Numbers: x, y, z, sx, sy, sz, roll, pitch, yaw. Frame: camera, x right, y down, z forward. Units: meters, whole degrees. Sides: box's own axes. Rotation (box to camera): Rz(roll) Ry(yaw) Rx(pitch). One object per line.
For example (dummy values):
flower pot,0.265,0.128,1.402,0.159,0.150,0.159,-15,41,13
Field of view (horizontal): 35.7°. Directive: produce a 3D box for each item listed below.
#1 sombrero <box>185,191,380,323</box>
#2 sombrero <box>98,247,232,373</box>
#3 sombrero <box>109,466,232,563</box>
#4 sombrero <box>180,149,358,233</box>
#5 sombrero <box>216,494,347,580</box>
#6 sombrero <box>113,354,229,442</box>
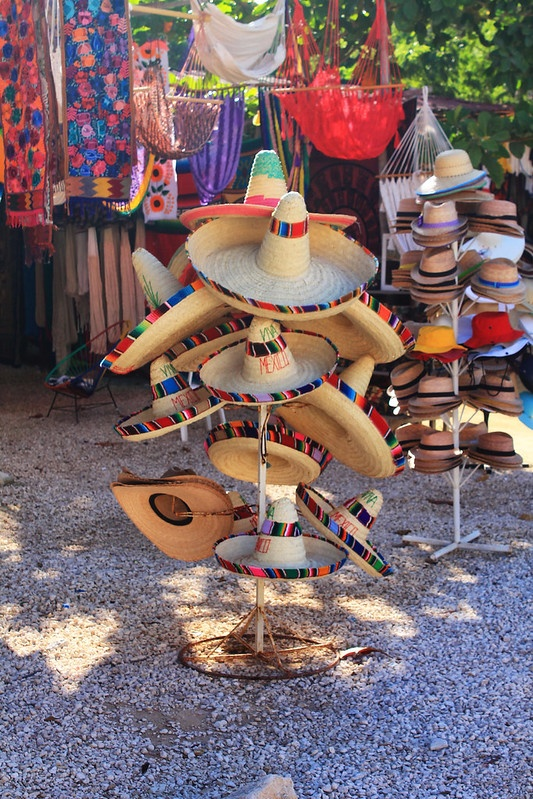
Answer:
sombrero,0.073,-0.476,3.053,0.572,0.249,0.601,7,31,-13
sombrero,-0.457,-0.376,3.183,0.440,0.280,0.573,-31,-4,-4
sombrero,-0.391,0.520,3.647,0.458,0.497,0.355,7,12,32
sombrero,-0.032,-0.782,3.136,0.523,0.198,0.398,3,8,37
sombrero,0.054,0.594,3.317,0.438,0.187,0.426,2,7,32
sombrero,-0.395,0.035,3.391,0.411,0.215,0.387,-24,14,2
